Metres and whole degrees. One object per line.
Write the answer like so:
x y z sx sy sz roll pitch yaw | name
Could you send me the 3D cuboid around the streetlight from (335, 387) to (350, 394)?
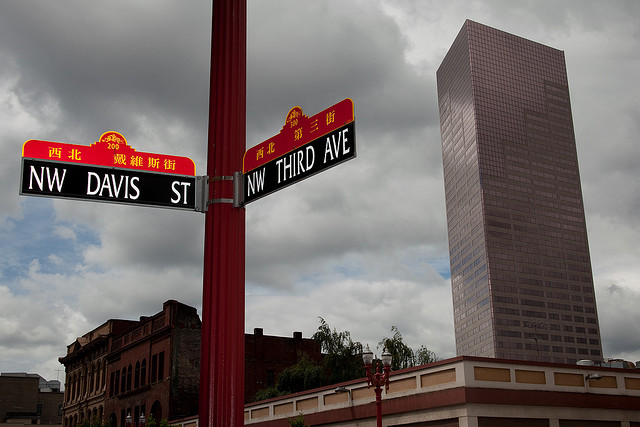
1.123 8.964 31.935 0.587 0.229 0.330 15 -24 -29 | streetlight
